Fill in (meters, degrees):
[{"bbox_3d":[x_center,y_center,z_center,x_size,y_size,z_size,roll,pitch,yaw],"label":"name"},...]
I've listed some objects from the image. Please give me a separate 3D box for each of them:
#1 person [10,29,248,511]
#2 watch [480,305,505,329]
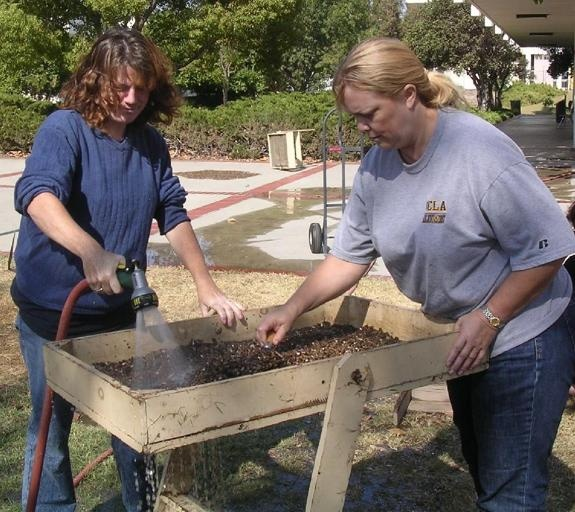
[{"bbox_3d":[-0.705,0.148,2.407,0.842,2.049,0.728,-9,16,-31],"label":"person"},{"bbox_3d":[0.677,0.200,1.971,0.058,0.072,0.019,-44,-12,-17],"label":"watch"}]
